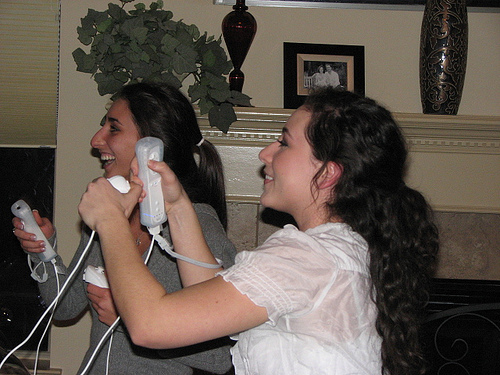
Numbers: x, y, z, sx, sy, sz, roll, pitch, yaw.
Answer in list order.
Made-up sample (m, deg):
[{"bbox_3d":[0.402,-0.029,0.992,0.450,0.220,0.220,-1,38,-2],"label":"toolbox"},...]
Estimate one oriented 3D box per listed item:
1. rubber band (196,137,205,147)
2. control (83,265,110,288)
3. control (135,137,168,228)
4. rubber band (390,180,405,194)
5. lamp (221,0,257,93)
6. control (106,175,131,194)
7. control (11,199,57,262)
[{"bbox_3d":[-0.205,-0.183,2.052,0.027,0.033,0.073,4,6,3],"label":"rubber band"},{"bbox_3d":[-0.545,0.302,1.767,0.075,0.067,0.204,1,7,-21],"label":"control"},{"bbox_3d":[-0.283,-0.015,1.479,0.116,0.265,0.074,0,7,-25],"label":"control"},{"bbox_3d":[0.442,-0.004,1.499,0.034,0.028,0.046,11,42,-1],"label":"rubber band"},{"bbox_3d":[-0.056,-0.681,2.409,0.158,0.434,0.096,3,7,-5],"label":"lamp"},{"bbox_3d":[-0.370,-0.011,1.431,0.043,0.059,0.058,-39,10,-16],"label":"control"},{"bbox_3d":[-0.761,0.158,1.774,0.141,0.230,0.101,1,7,-22],"label":"control"}]
